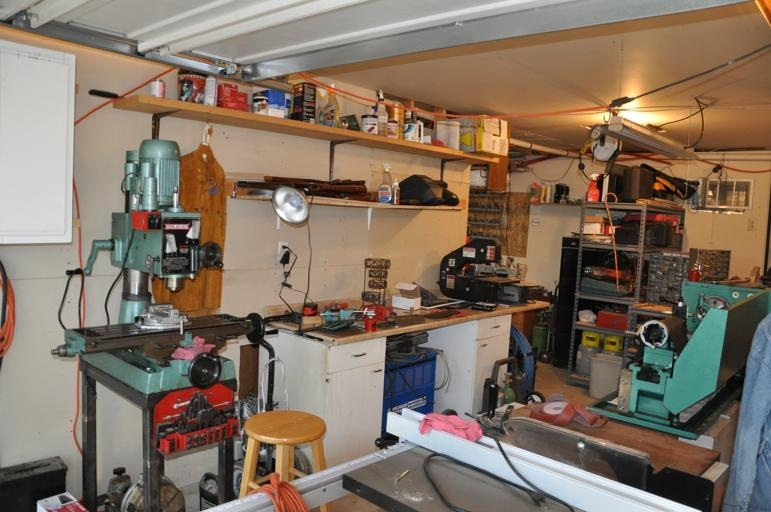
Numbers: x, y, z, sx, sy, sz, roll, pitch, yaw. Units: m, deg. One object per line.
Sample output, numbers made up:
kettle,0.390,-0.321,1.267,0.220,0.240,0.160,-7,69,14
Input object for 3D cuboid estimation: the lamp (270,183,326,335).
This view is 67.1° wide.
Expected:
lamp,-0.697,0.018,4.452,0.280,1.056,0.748,0,5,-7

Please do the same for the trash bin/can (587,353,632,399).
trash bin/can,2.376,1.296,6.241,0.343,0.434,0.317,2,5,17

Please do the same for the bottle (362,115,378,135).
bottle,-0.129,-1.084,4.810,0.165,0.157,0.162,7,12,29

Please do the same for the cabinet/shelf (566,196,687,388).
cabinet/shelf,2.718,0.398,6.754,1.226,2.058,1.240,2,5,15

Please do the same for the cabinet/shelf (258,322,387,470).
cabinet/shelf,-0.426,1.104,4.503,0.733,0.928,0.660,4,2,35

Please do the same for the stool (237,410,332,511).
stool,-0.597,1.319,3.603,0.435,0.670,0.459,3,5,29

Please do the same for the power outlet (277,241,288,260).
power outlet,-0.820,-0.034,4.631,0.104,0.128,0.041,12,-4,-9
